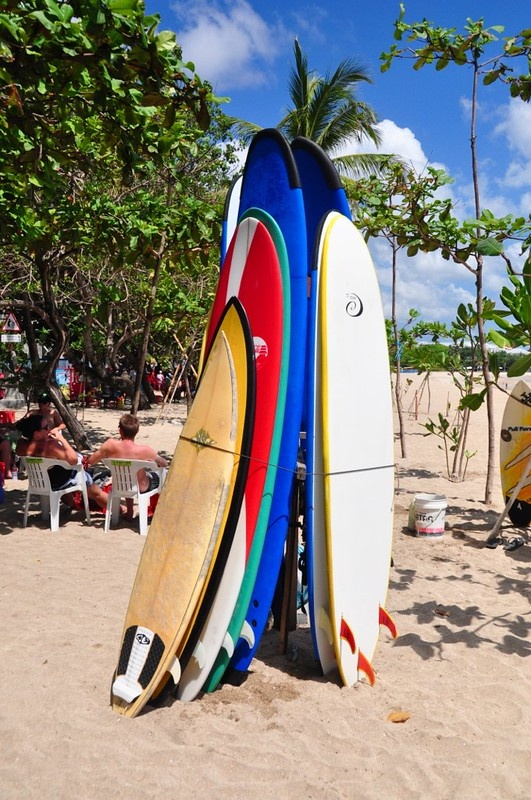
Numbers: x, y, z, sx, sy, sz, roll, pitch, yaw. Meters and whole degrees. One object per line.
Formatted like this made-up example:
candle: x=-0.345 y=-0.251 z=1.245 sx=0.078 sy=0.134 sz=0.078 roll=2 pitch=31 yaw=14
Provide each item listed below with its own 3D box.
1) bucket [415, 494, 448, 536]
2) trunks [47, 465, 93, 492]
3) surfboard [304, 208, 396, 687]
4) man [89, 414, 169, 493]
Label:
bucket: x=1.642 y=1.156 z=6.510 sx=0.351 sy=0.349 sz=0.358 roll=0 pitch=-4 yaw=0
trunks: x=-1.938 y=0.751 z=6.368 sx=0.239 sy=0.325 sz=0.239 roll=4 pitch=28 yaw=15
surfboard: x=0.471 y=0.242 z=3.393 sx=0.417 sy=2.493 sz=0.726 roll=3 pitch=3 yaw=15
man: x=-1.344 y=0.502 z=6.257 sx=0.821 sy=0.760 sz=0.466 roll=2 pitch=5 yaw=-12
